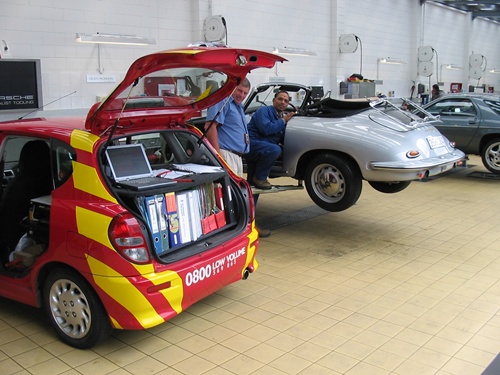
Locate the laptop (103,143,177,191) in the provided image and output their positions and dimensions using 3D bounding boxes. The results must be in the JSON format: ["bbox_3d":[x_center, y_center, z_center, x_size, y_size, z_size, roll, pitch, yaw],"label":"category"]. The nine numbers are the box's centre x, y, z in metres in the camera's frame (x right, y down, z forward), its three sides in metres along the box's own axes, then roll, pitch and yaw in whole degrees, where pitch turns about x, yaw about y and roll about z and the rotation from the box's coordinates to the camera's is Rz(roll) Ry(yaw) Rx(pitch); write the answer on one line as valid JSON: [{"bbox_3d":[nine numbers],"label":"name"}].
[{"bbox_3d":[-0.901,-0.156,2.790,0.567,0.269,0.493,12,17,32],"label":"laptop"}]

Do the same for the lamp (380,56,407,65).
[{"bbox_3d":[6.874,-6.099,16.589,1.183,0.190,0.722,-2,13,-27],"label":"lamp"}]

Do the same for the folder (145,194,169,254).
[{"bbox_3d":[-0.726,0.277,2.719,0.155,0.434,0.246,6,18,22],"label":"folder"}]
